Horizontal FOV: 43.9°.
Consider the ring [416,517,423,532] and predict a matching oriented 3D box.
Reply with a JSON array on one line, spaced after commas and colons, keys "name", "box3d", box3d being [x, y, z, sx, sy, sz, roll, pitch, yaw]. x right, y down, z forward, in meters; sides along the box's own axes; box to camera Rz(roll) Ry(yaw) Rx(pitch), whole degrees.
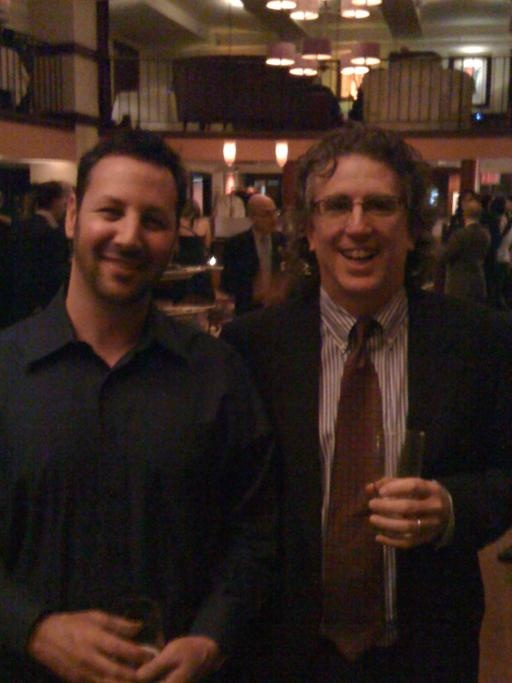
[{"name": "ring", "box3d": [0.315, 0.359, 1.235, 0.017, 0.027, 0.008, -5, 10, -30]}]

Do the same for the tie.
[{"name": "tie", "box3d": [0.206, 0.296, 1.350, 0.131, 0.762, 0.057, 6, 15, 22]}]

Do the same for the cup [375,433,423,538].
[{"name": "cup", "box3d": [0.283, 0.233, 1.271, 0.070, 0.288, 0.063, 10, -5, -2]}]

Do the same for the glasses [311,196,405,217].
[{"name": "glasses", "box3d": [0.186, -0.254, 1.179, 0.167, 0.035, 0.034, 2, 10, 10]}]
